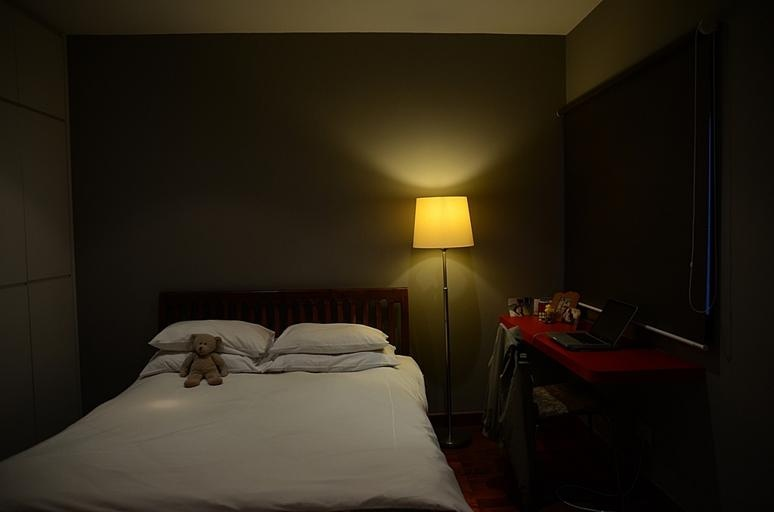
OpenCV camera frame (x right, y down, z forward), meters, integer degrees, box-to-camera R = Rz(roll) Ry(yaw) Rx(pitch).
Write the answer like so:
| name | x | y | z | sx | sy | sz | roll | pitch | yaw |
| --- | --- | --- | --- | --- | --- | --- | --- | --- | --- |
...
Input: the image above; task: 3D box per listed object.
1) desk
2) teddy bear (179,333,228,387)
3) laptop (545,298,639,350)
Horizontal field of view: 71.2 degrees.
| name | x | y | z | sx | sy | sz | roll | pitch | yaw |
| --- | --- | --- | --- | --- | --- | --- | --- | --- | --- |
| desk | 1.412 | 0.639 | 3.777 | 0.648 | 0.294 | 1.261 | -1 | -3 | -26 |
| teddy bear | -1.333 | 0.740 | 3.907 | 0.302 | 0.370 | 0.295 | 3 | 5 | -2 |
| laptop | 1.442 | 0.494 | 3.749 | 0.378 | 0.266 | 0.394 | 1 | 6 | -7 |
